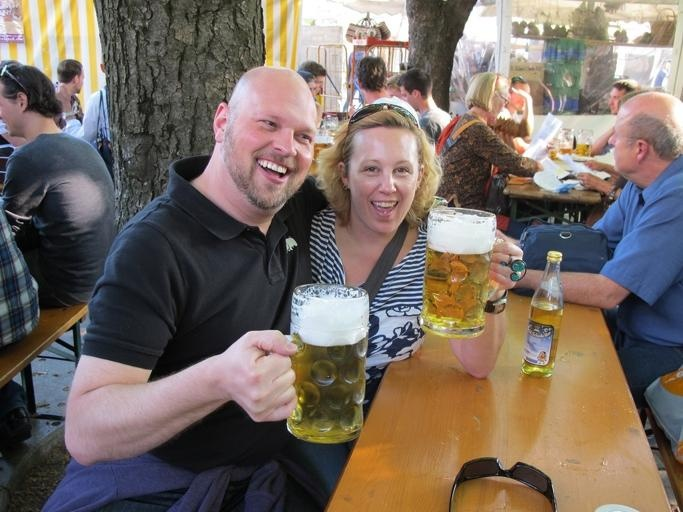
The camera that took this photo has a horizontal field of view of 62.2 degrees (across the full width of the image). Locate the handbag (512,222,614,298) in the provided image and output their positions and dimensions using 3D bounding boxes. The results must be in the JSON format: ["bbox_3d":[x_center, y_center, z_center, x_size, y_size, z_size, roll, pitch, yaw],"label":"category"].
[{"bbox_3d":[1.150,-0.043,2.905,0.493,0.386,0.175,1,-7,-9],"label":"handbag"}]

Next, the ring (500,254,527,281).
[{"bbox_3d":[0.600,0.040,1.962,0.065,0.086,0.030,2,4,26],"label":"ring"}]

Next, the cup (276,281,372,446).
[{"bbox_3d":[-0.042,0.362,1.730,0.225,0.535,0.225,1,17,0],"label":"cup"}]
